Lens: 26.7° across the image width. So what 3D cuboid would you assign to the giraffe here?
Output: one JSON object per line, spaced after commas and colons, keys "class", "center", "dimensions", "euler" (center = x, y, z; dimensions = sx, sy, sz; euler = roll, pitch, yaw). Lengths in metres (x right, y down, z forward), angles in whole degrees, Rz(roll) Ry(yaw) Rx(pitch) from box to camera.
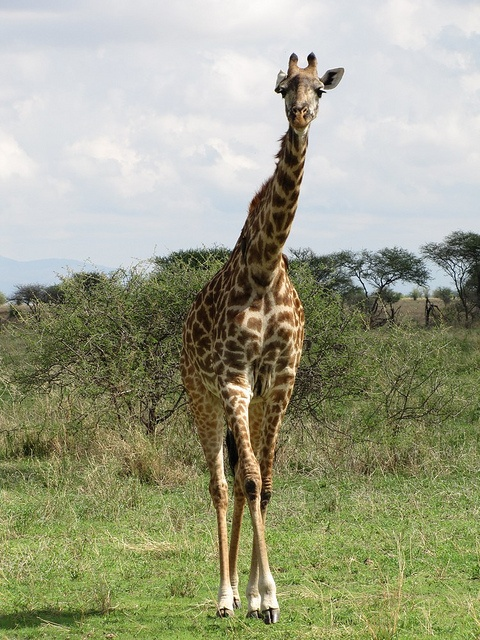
{"class": "giraffe", "center": [0.115, 0.105, 7.371], "dimensions": [0.957, 3.886, 1.681], "euler": [-3, 6, -3]}
